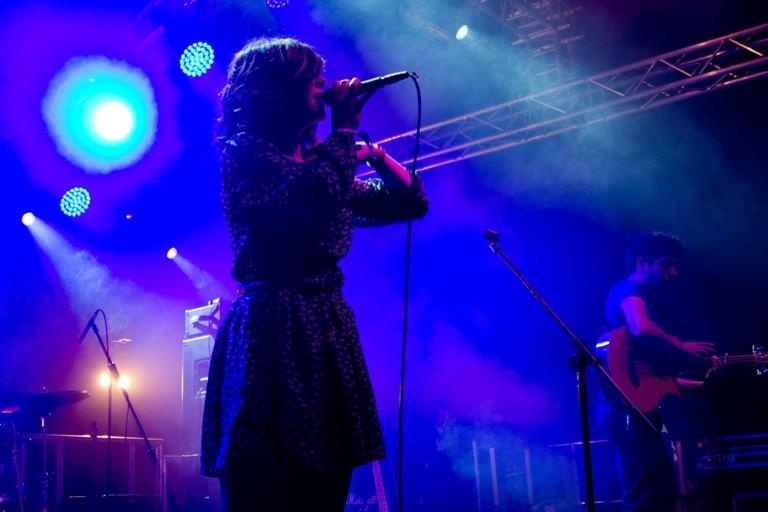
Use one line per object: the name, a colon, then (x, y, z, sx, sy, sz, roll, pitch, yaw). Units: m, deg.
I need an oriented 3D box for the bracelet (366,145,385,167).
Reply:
bracelet: (-0.107, -0.903, 6.486, 0.146, 0.186, 0.198, 3, -49, -12)

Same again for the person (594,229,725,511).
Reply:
person: (3.363, 1.391, 9.087, 1.397, 3.317, 1.192, -8, -29, 14)
